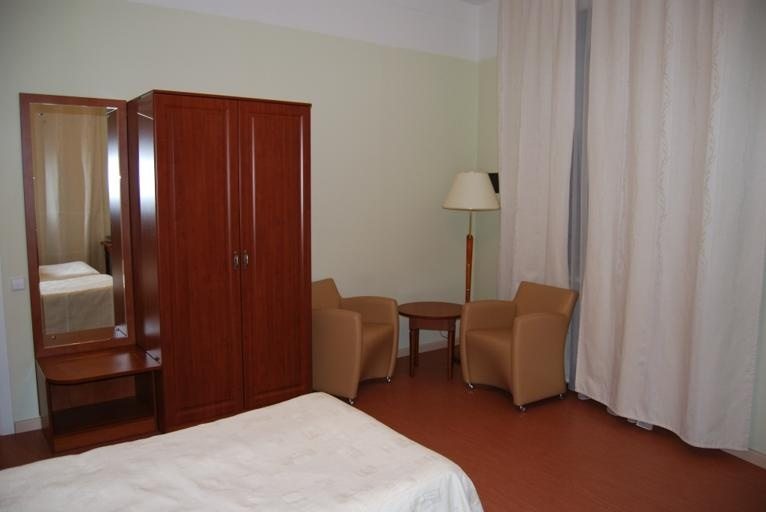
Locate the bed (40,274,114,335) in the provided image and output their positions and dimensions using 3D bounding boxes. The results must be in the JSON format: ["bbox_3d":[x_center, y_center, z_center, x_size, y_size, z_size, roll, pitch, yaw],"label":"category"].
[{"bbox_3d":[-2.840,0.437,5.016,0.796,0.596,0.430,-4,8,-36],"label":"bed"}]

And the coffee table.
[{"bbox_3d":[0.539,0.968,6.058,0.750,0.700,0.806,-1,4,-9],"label":"coffee table"}]

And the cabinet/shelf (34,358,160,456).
[{"bbox_3d":[-2.541,1.268,4.802,0.881,0.658,0.719,-2,8,-36],"label":"cabinet/shelf"}]

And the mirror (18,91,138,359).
[{"bbox_3d":[-2.754,-0.276,4.893,0.954,2.307,0.172,-7,10,-25],"label":"mirror"}]

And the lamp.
[{"bbox_3d":[1.051,-0.185,6.360,0.619,1.597,0.860,0,9,12],"label":"lamp"}]

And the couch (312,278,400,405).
[{"bbox_3d":[-0.403,0.847,5.734,0.827,1.064,0.871,4,9,26],"label":"couch"}]
